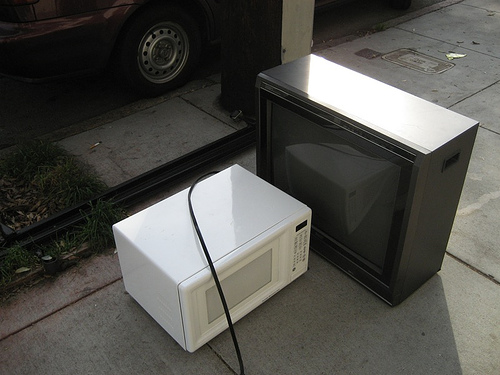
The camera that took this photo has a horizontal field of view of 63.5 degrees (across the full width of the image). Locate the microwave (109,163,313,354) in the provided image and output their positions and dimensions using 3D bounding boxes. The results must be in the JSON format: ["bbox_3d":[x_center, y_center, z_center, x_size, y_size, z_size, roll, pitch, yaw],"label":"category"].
[{"bbox_3d":[-0.220,0.504,3.153,1.234,0.736,0.883,-26,41,-32],"label":"microwave"}]
